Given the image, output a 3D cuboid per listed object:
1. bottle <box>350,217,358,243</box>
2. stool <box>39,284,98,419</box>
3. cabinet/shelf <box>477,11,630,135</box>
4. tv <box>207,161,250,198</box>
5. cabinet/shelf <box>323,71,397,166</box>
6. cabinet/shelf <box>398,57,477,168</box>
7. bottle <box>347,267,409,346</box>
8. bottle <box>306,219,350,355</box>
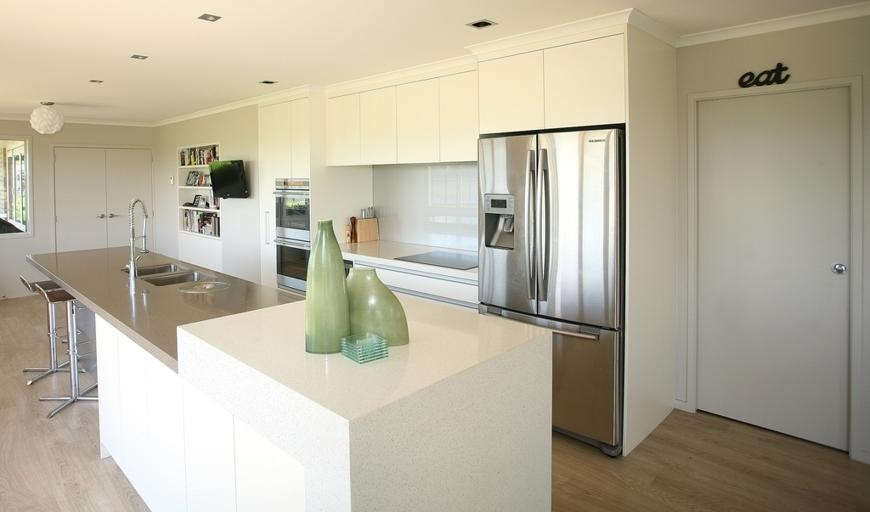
[{"bbox_3d":[-1.058,-0.338,6.932,0.099,0.300,0.087,-2,10,-8],"label":"bottle"},{"bbox_3d":[-3.925,0.914,5.653,0.483,1.131,1.056,-8,12,-36],"label":"stool"},{"bbox_3d":[1.075,-1.643,5.050,1.467,0.863,0.467,3,9,-22],"label":"cabinet/shelf"},{"bbox_3d":[-3.014,-1.089,7.781,0.911,0.546,0.012,6,15,37],"label":"tv"},{"bbox_3d":[-0.744,-1.666,6.962,0.474,1.072,1.371,13,19,35],"label":"cabinet/shelf"},{"bbox_3d":[-0.023,-1.562,6.152,0.418,0.985,1.184,-12,19,-28],"label":"cabinet/shelf"},{"bbox_3d":[-0.334,0.298,3.146,0.361,0.453,0.149,-1,10,-5],"label":"bottle"},{"bbox_3d":[-0.640,0.179,3.113,0.264,0.753,0.176,-2,10,-9],"label":"bottle"}]
